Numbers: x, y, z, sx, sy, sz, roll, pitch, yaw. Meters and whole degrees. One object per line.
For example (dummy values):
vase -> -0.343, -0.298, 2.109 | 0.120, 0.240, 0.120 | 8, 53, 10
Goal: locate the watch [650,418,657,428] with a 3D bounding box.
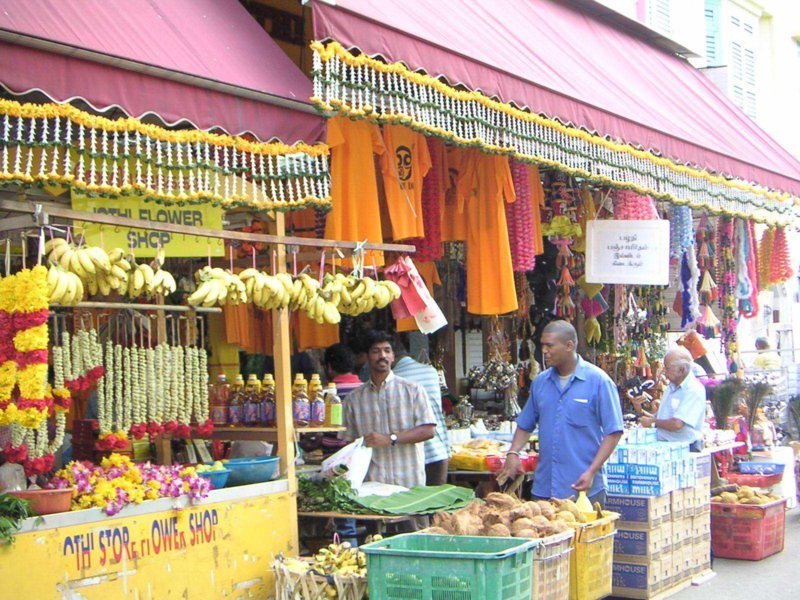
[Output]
watch -> 2.363, 1.149, 9.171 | 0.079, 0.091, 0.084 | -4, -32, 3

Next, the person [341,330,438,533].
person -> -0.101, 1.211, 7.226 | 0.669, 1.911, 0.540 | -5, -2, 10

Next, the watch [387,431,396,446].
watch -> -0.057, 0.983, 6.981 | 0.047, 0.082, 0.071 | 3, -26, -10

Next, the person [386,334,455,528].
person -> 0.162, 0.973, 7.830 | 0.380, 1.333, 0.449 | 1, 5, -30

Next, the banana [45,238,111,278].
banana -> -1.724, -0.266, 5.235 | 0.200, 0.246, 0.258 | 6, 9, 26

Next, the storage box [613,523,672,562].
storage box -> 1.962, 1.916, 7.864 | 0.289, 0.208, 0.299 | -2, -3, 34

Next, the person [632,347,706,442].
person -> 2.506, 1.159, 9.039 | 0.486, 1.469, 0.630 | -2, 6, -9

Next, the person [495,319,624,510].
person -> 1.196, 0.876, 7.025 | 0.703, 1.495, 0.740 | 4, 3, 18
